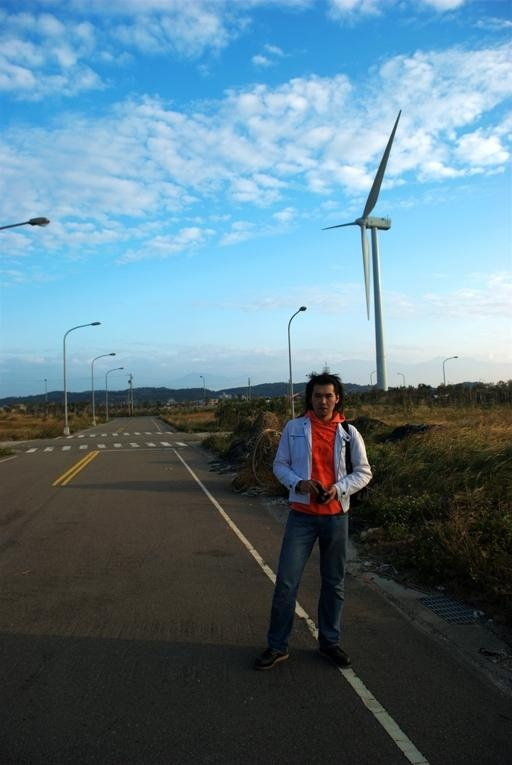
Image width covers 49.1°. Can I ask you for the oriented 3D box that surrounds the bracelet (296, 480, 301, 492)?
[{"bbox_3d":[0.287,0.697,3.735,0.018,0.068,0.066,17,-32,-11],"label":"bracelet"}]

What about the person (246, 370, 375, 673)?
[{"bbox_3d":[0.402,0.932,3.865,0.752,1.996,0.432,1,-3,-26],"label":"person"}]

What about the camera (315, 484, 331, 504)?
[{"bbox_3d":[0.448,0.747,3.704,0.067,0.191,0.068,-1,-22,5],"label":"camera"}]

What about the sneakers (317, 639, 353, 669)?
[{"bbox_3d":[0.553,1.878,3.859,0.090,0.108,0.257,3,-9,-27],"label":"sneakers"}]

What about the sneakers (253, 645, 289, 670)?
[{"bbox_3d":[0.117,1.879,3.833,0.097,0.117,0.268,-12,-17,41],"label":"sneakers"}]
